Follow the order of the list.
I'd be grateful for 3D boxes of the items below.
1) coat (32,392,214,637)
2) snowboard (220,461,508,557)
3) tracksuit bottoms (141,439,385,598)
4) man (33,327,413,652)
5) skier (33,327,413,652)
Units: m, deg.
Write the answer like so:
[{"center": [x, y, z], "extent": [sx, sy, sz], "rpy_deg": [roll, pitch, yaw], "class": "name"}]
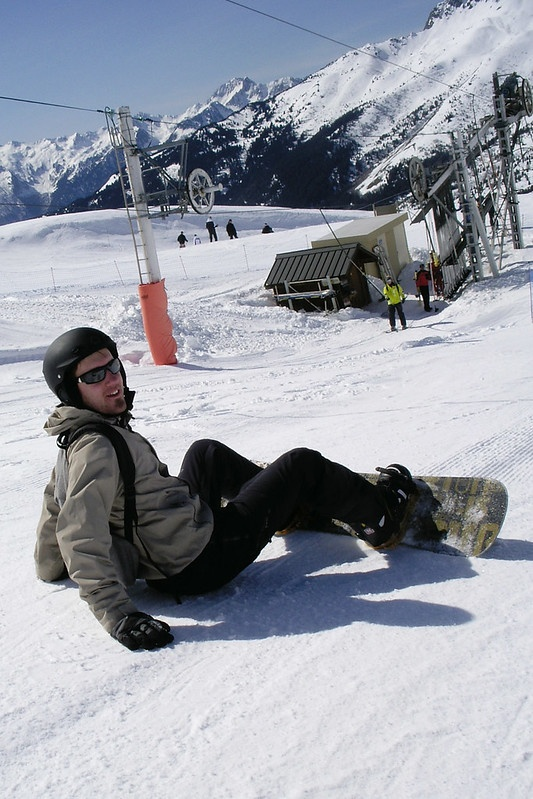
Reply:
[{"center": [-0.648, 0.486, 3.070], "extent": [0.720, 0.904, 1.508], "rpy_deg": [-7, -3, -24], "class": "coat"}, {"center": [0.461, 0.571, 3.630], "extent": [1.615, 0.454, 0.230], "rpy_deg": [3, -31, 20], "class": "snowboard"}, {"center": [-0.025, 0.476, 3.188], "extent": [0.981, 0.435, 0.646], "rpy_deg": [-16, 10, -30], "class": "tracksuit bottoms"}, {"center": [-0.193, 0.240, 3.187], "extent": [1.562, 1.066, 1.301], "rpy_deg": [-17, 17, -12], "class": "man"}, {"center": [-0.200, 0.250, 3.070], "extent": [1.562, 1.066, 1.301], "rpy_deg": [-17, 17, -12], "class": "skier"}]
